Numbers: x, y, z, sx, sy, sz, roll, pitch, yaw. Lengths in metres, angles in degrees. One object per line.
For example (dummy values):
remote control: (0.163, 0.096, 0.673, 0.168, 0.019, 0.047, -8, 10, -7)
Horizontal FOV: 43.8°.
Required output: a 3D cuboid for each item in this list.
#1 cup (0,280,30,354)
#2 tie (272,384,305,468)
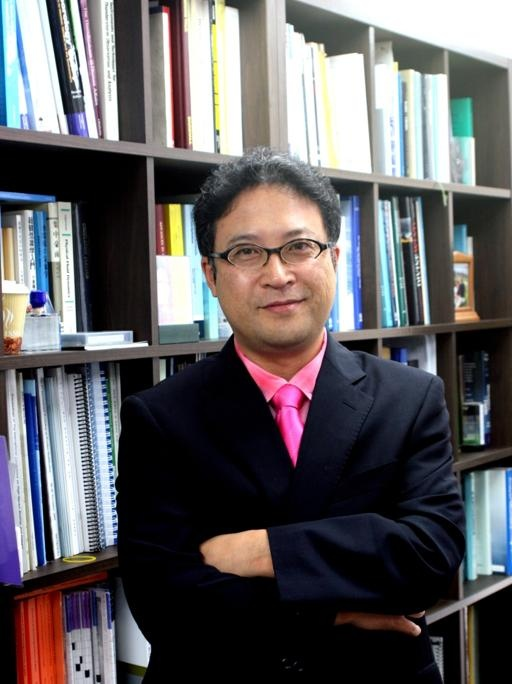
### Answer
cup: (-0.436, -0.046, 1.133, 0.032, 0.104, 0.064, -3, -1, 27)
tie: (0.054, 0.133, 1.020, 0.042, 0.133, 0.036, -2, -31, -1)
